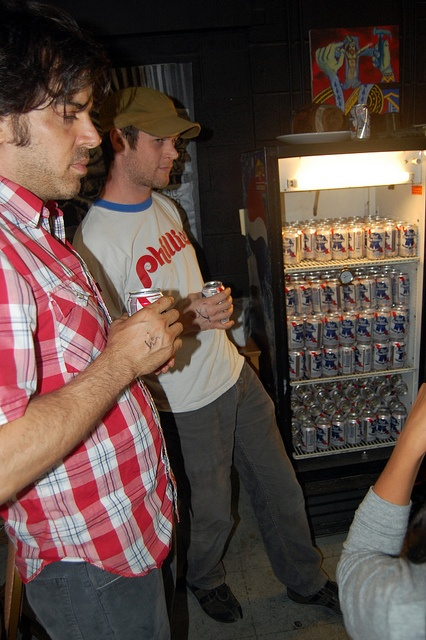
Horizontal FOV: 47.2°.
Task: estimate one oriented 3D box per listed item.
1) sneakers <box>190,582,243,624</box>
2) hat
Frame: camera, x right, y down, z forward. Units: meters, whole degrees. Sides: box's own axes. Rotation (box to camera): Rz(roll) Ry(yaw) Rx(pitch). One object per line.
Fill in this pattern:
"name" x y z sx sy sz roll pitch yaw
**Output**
"sneakers" -0.002 1.093 1.943 0.087 0.089 0.230 -18 34 -42
"hat" -0.218 -0.734 1.734 0.356 0.172 0.240 4 23 14
